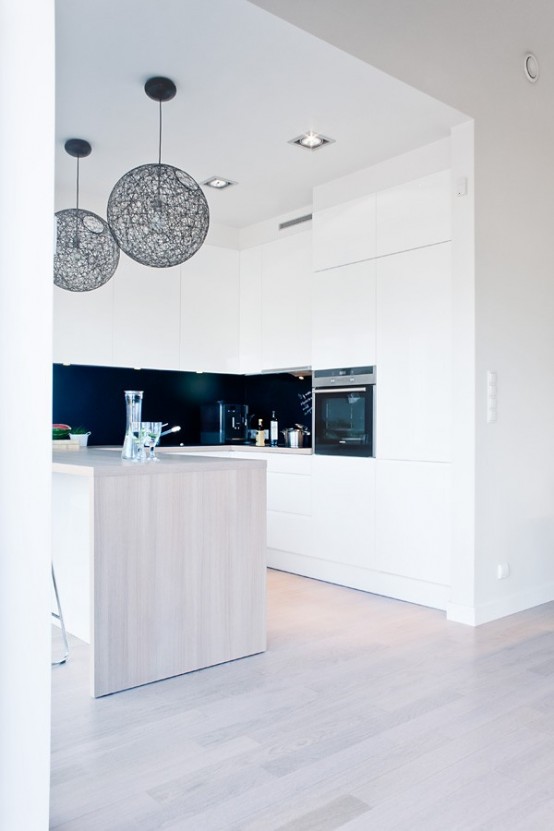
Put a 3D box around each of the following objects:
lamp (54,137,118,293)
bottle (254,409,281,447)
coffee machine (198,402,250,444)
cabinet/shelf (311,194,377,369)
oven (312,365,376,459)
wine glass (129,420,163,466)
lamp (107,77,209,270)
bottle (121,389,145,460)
[{"bbox_3d":[-1.067,-1.076,3.551,0.351,0.871,0.380,-13,-14,33],"label":"lamp"},{"bbox_3d":[-0.099,0.113,5.398,0.208,0.285,0.413,0,-3,-2],"label":"bottle"},{"bbox_3d":[-0.441,0.090,5.322,0.324,0.335,0.465,1,-3,-17],"label":"coffee machine"},{"bbox_3d":[0.431,-0.865,4.326,0.528,1.112,0.373,2,10,12],"label":"cabinet/shelf"},{"bbox_3d":[0.440,-0.038,4.280,0.403,0.549,0.319,1,13,14],"label":"oven"},{"bbox_3d":[-0.583,0.119,2.838,0.091,0.201,0.181,5,13,22],"label":"wine glass"},{"bbox_3d":[-0.511,-0.844,2.792,0.418,0.345,0.358,1,-3,-12],"label":"lamp"},{"bbox_3d":[-0.646,0.041,2.921,0.090,0.322,0.435,1,-3,-13],"label":"bottle"}]
